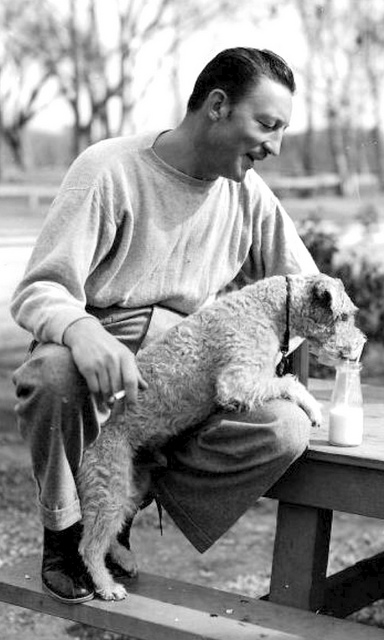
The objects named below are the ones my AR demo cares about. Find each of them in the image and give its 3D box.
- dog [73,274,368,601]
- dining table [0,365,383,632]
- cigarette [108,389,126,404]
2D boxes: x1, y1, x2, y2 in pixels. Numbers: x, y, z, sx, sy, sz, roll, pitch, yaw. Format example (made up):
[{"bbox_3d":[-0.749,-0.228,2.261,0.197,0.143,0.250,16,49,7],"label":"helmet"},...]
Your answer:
[{"bbox_3d":[0.042,0.296,2.863,0.943,0.735,0.368,-11,10,-15],"label":"dog"},{"bbox_3d":[0.193,0.487,3.001,0.735,0.455,0.950,10,10,24],"label":"dining table"},{"bbox_3d":[-0.183,0.184,2.582,0.013,0.010,0.045,30,45,28],"label":"cigarette"}]
